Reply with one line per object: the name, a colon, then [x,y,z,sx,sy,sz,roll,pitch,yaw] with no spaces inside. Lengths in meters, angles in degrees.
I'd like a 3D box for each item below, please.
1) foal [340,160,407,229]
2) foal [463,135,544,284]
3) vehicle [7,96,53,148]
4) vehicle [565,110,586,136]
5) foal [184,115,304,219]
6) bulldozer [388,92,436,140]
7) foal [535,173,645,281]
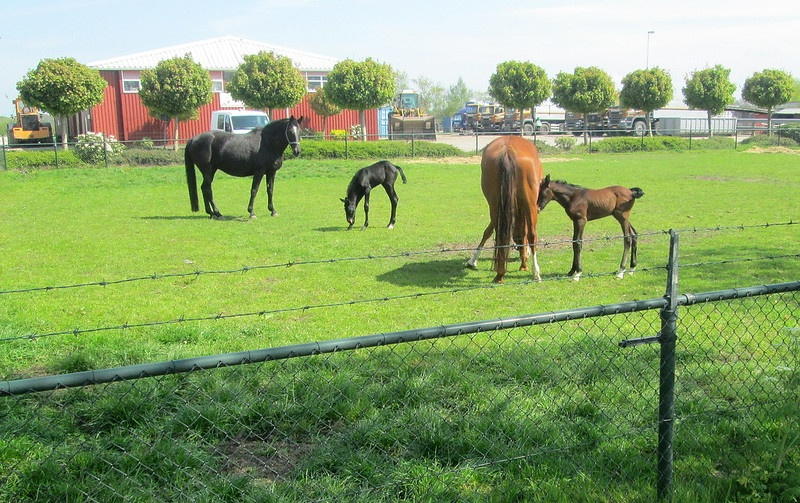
foal: [-0.694,-1.409,19.585,1.461,1.690,0.555,-5,15,-14]
foal: [2.416,-1.097,16.462,1.381,3.415,4.658,1,2,14]
vehicle: [-24.650,-8.770,51.366,2.427,2.996,6.991,-8,17,-26]
vehicle: [15.564,-11.606,69.166,1.869,2.045,3.509,1,6,17]
foal: [-4.360,-2.354,21.789,3.435,2.861,1.226,0,7,5]
bulldozer: [1.174,-9.370,60.860,3.991,4.089,7.474,-1,14,-2]
foal: [3.744,-0.505,14.802,1.928,2.007,1.041,-5,15,-13]
